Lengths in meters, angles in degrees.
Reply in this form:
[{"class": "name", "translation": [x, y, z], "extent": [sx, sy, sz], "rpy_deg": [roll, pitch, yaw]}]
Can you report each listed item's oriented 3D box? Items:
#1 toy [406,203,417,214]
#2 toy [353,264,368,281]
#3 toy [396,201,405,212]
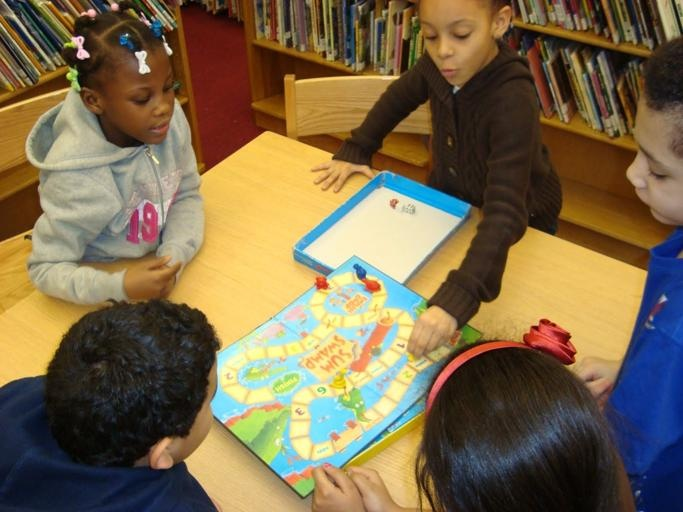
[{"class": "toy", "translation": [0.180, -0.122, 1.369], "extent": [0.022, 0.017, 0.025], "rpy_deg": [-6, 63, 22]}, {"class": "toy", "translation": [0.043, 0.038, 1.204], "extent": [0.020, 0.014, 0.037], "rpy_deg": [-15, 57, -8]}, {"class": "toy", "translation": [0.157, -0.130, 1.386], "extent": [0.020, 0.005, 0.021], "rpy_deg": [5, 47, 9]}]
